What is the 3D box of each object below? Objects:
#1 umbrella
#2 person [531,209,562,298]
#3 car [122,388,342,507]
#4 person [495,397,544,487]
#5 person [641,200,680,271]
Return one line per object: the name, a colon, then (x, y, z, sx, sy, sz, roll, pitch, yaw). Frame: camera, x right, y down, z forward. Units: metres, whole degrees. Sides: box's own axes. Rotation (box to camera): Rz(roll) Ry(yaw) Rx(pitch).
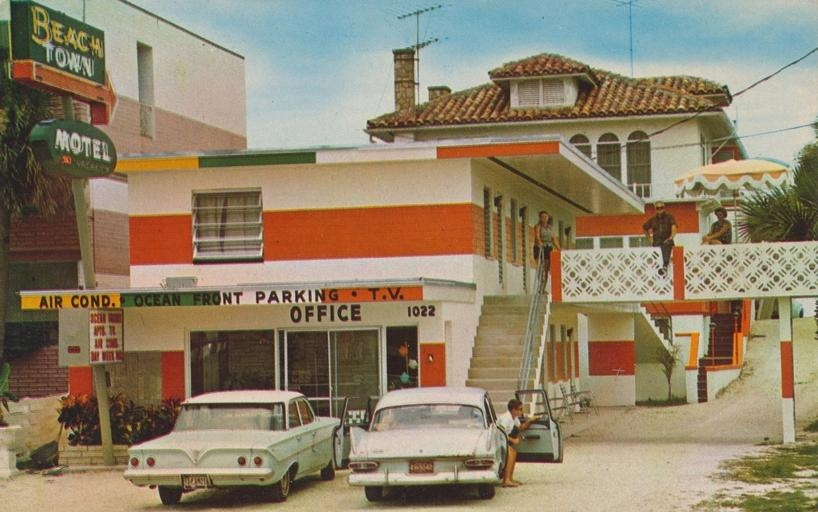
umbrella: (10.962, -1.793, 56.339, 3.461, 3.022, 3.466, -2, -5, 30)
person: (4.813, -0.224, 56.463, 1.040, 3.270, 0.963, 0, 0, -15)
car: (-5.075, 5.515, 47.450, 5.965, 3.308, 2.657, -1, -9, -12)
person: (3.184, 5.476, 48.038, 1.135, 2.602, 1.557, 0, -2, -7)
person: (8.431, -0.793, 54.267, 0.977, 2.481, 1.205, 1, 1, 15)
